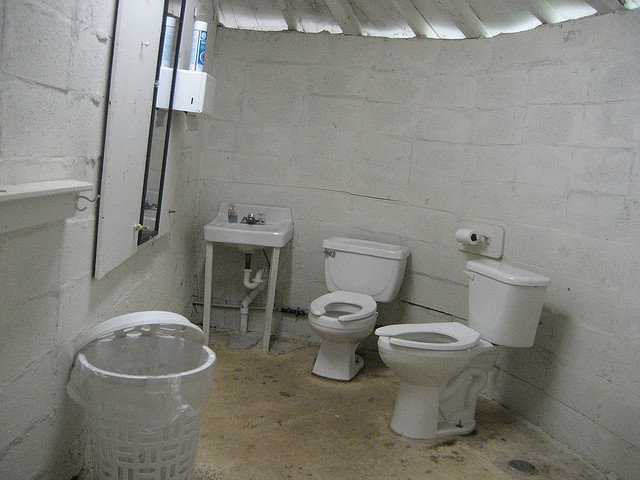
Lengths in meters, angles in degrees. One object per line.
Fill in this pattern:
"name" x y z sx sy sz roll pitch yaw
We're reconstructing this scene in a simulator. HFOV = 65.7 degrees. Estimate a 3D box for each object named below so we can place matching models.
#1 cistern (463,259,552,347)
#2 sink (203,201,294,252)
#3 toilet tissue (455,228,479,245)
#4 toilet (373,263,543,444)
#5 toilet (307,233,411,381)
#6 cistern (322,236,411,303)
"cistern" 1.121 0.389 3.101 0.327 0.447 0.516 -3 12 -34
"sink" -0.521 -0.102 3.867 0.615 0.348 0.423 5 20 7
"toilet tissue" 1.029 -0.028 3.474 0.153 0.098 0.176 9 13 22
"toilet" 0.789 0.671 3.046 0.962 1.036 0.578 0 8 -19
"toilet" 0.238 0.517 3.716 0.663 0.930 0.854 9 13 19
"cistern" 0.334 0.235 3.940 0.701 0.473 0.409 7 10 6
